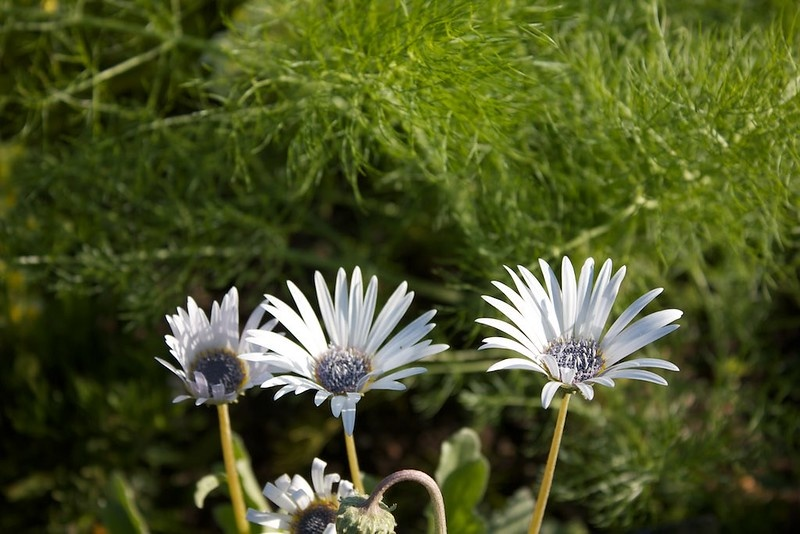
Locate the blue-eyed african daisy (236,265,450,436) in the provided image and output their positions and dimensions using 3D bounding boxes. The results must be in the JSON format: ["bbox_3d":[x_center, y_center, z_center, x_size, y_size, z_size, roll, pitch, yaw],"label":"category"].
[{"bbox_3d":[-0.105,0.127,1.253,0.309,0.167,0.263,-14,51,-24],"label":"blue-eyed african daisy"}]

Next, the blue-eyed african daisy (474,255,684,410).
[{"bbox_3d":[0.316,0.093,1.350,0.269,0.283,0.136,-2,89,-20],"label":"blue-eyed african daisy"}]

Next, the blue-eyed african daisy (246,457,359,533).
[{"bbox_3d":[-0.178,0.417,1.318,0.181,0.132,0.088,-13,48,-23],"label":"blue-eyed african daisy"}]
